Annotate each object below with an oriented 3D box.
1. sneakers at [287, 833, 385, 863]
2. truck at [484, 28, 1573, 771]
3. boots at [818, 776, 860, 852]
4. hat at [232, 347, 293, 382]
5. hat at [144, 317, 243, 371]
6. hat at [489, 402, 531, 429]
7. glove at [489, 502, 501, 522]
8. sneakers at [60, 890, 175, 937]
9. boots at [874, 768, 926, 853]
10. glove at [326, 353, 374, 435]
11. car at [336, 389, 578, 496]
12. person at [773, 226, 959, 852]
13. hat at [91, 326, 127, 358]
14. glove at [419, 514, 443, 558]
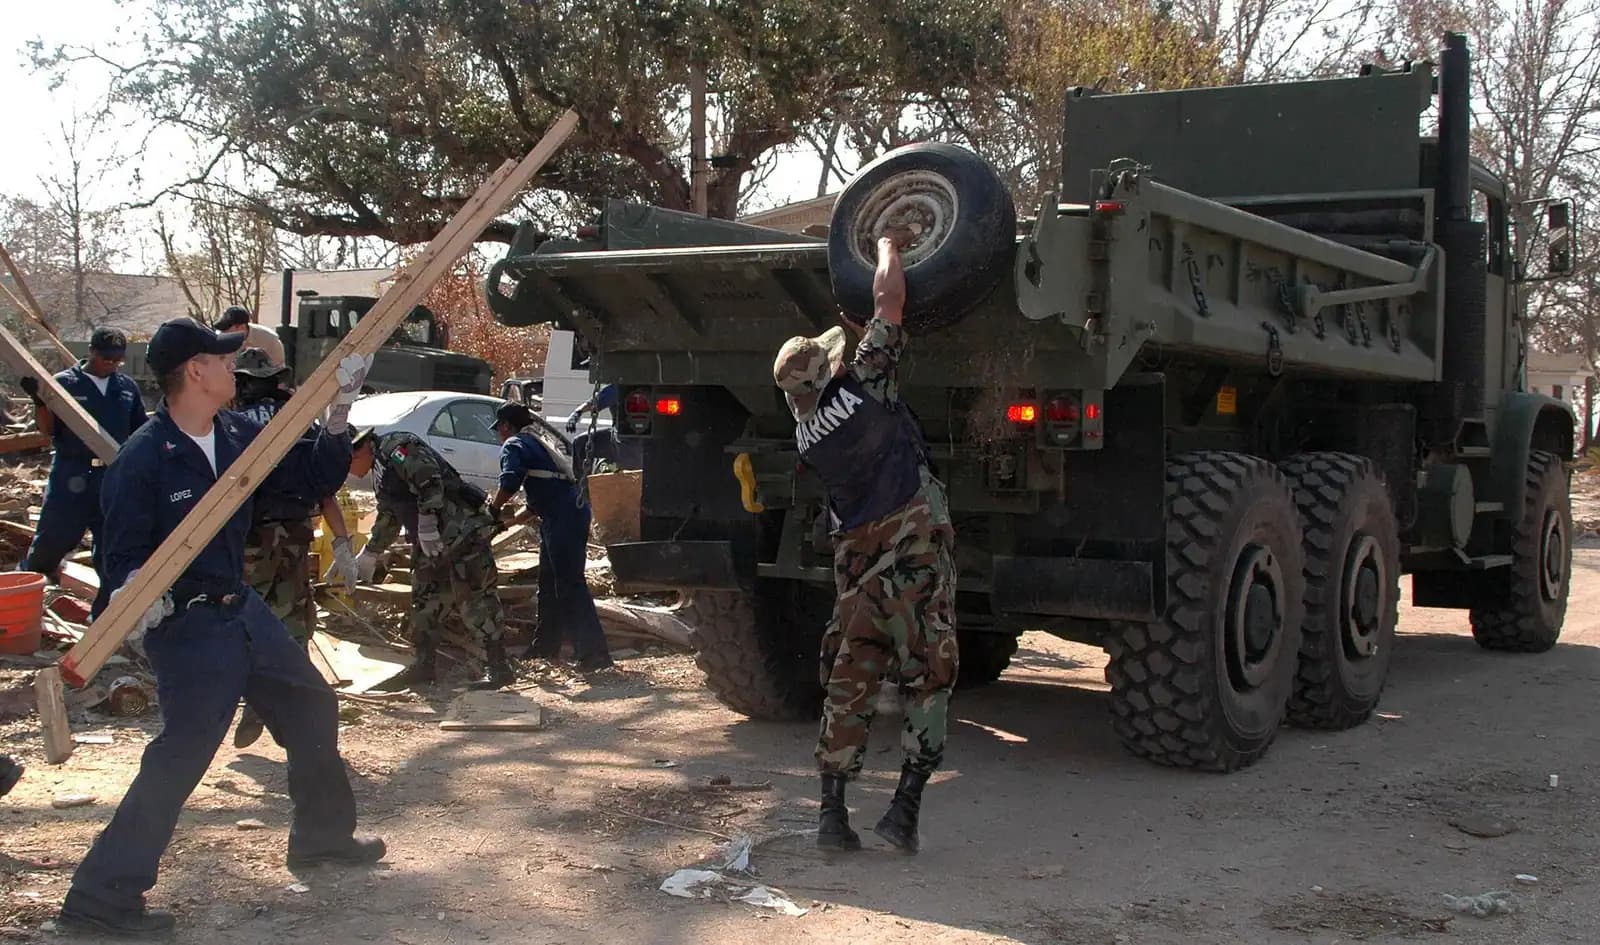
[{"bbox_3d":[-2.518,2.079,7.176,0.488,0.216,0.186,-1,-1,-13],"label":"sneakers"},{"bbox_3d":[2.687,-0.641,10.786,4.230,4.460,8.264,2,4,40],"label":"truck"},{"bbox_3d":[0.225,1.916,7.420,0.240,0.411,0.194,0,10,1],"label":"boots"},{"bbox_3d":[-3.722,-0.739,9.081,0.383,0.145,0.385,3,3,25],"label":"hat"},{"bbox_3d":[-3.157,-0.659,6.881,0.431,0.218,0.270,-19,18,-17],"label":"hat"},{"bbox_3d":[-2.399,-0.505,10.981,0.189,0.226,0.254,6,38,2],"label":"hat"},{"bbox_3d":[-2.462,0.322,10.635,0.097,0.136,0.041,9,-15,-25],"label":"glove"},{"bbox_3d":[-3.363,2.179,6.601,0.524,0.248,0.225,5,-5,-5],"label":"sneakers"},{"bbox_3d":[0.569,1.893,7.400,0.311,0.488,0.187,-2,10,-13],"label":"boots"},{"bbox_3d":[-2.426,-0.430,7.090,0.139,0.417,0.307,18,3,-29],"label":"glove"},{"bbox_3d":[-3.420,-0.288,12.951,1.235,0.921,2.601,2,4,45],"label":"car"},{"bbox_3d":[0.391,0.394,7.489,0.998,3.401,0.900,6,12,31],"label":"person"},{"bbox_3d":[-4.911,-0.941,9.328,0.188,0.138,0.257,4,12,-40],"label":"hat"},{"bbox_3d":[-2.900,0.491,10.300,0.223,0.293,0.090,2,6,33],"label":"glove"}]
